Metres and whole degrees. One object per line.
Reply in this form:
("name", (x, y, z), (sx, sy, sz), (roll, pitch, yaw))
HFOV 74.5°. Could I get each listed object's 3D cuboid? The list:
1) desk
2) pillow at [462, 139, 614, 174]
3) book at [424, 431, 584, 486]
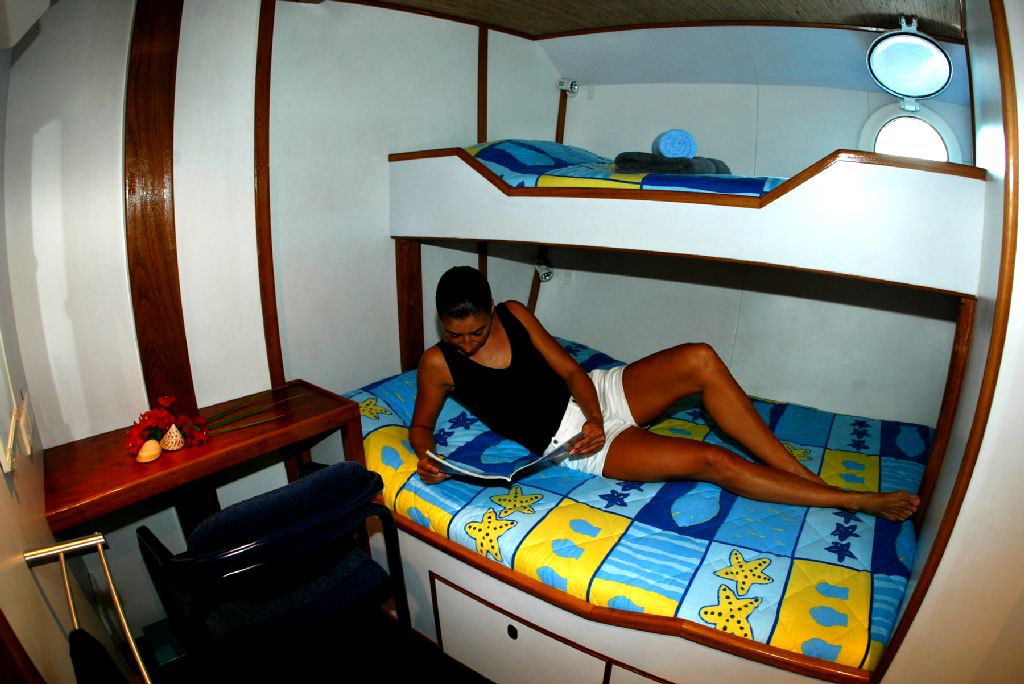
("desk", (-1.302, 0.722, 3.014), (0.572, 0.754, 1.164), (15, 23, 41))
("pillow", (0.116, -0.998, 3.620), (0.508, 0.076, 0.409), (15, 26, 28))
("book", (-0.096, 0.535, 3.028), (0.399, 0.122, 0.215), (9, 0, -3))
